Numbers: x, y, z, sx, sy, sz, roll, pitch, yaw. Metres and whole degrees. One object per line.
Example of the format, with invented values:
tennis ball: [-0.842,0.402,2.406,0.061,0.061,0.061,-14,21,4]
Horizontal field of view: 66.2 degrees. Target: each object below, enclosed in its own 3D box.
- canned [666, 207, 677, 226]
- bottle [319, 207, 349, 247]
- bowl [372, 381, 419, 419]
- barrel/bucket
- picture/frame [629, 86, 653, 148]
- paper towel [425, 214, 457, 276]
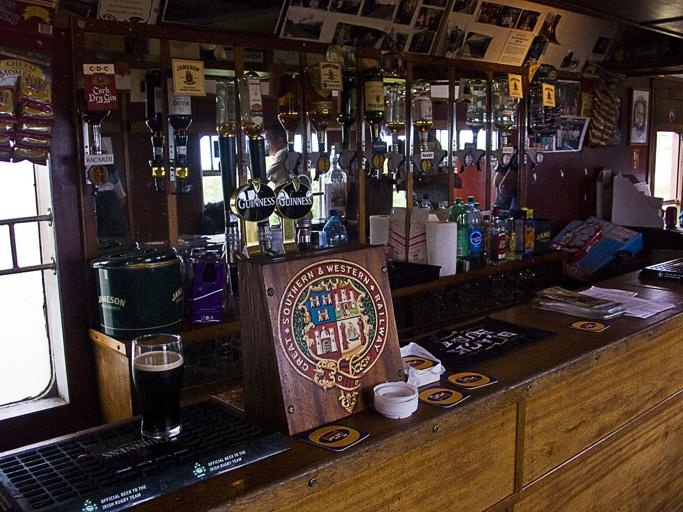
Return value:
canned: [3.594,-0.431,5.714,0.098,0.177,0.160,7,14,25]
bottle: [-0.045,-0.184,3.235,0.166,0.208,0.340,1,13,1]
bowl: [0.152,0.405,1.474,0.111,0.068,0.114,1,13,0]
barrel/bucket: [-0.868,0.130,2.366,0.410,0.377,0.374,-2,5,0]
picture/frame: [3.312,-1.564,5.830,0.660,0.825,0.054,-7,10,-44]
paper towel: [0.594,-0.064,3.080,0.187,0.360,0.119,-10,17,-41]
